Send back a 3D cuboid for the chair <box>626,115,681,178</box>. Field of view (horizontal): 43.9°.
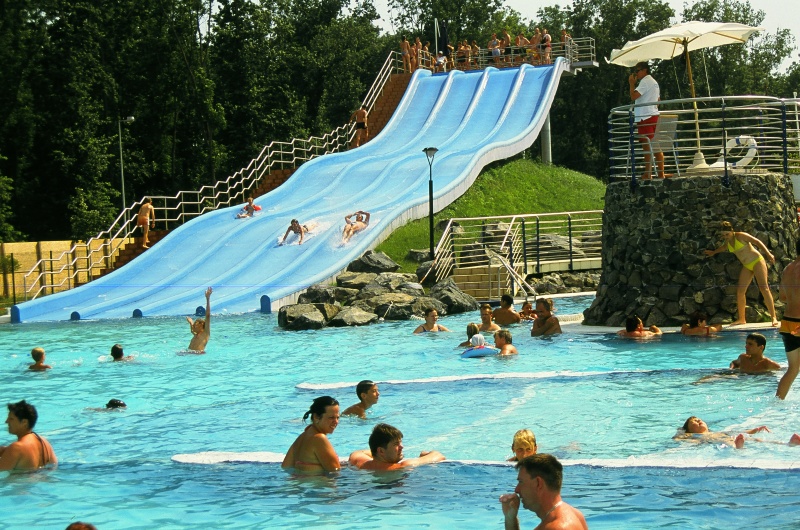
[{"bbox_3d":[5.784,-2.836,21.983,0.885,2.132,1.183,2,-2,-40],"label":"chair"}]

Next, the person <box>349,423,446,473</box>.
[{"bbox_3d":[-0.116,2.909,15.445,1.304,0.763,1.240,0,-2,4],"label":"person"}]

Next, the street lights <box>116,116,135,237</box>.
[{"bbox_3d":[-11.655,-3.683,41.984,0.904,5.871,0.896,0,-7,3],"label":"street lights"}]

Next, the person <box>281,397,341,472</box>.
[{"bbox_3d":[-1.376,2.702,15.446,1.372,1.289,0.773,-1,-1,24],"label":"person"}]
